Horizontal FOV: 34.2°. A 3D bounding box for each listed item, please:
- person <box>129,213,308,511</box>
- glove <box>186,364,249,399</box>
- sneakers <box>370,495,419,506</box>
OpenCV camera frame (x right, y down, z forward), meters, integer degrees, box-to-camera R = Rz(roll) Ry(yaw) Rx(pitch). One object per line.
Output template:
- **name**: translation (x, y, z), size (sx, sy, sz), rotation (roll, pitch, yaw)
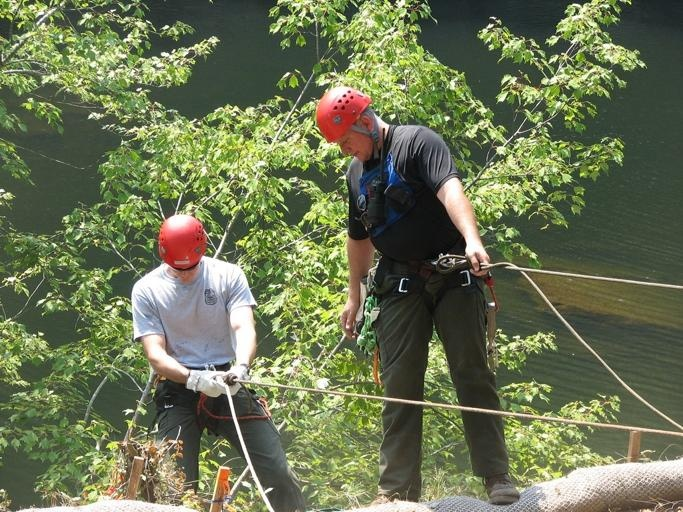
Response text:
- **person**: translation (-1.487, 1.214, 12.553), size (1.641, 3.380, 0.614), rotation (-4, -2, -2)
- **glove**: translation (-1.394, 1.413, 12.349), size (0.448, 0.181, 0.441), rotation (2, -17, 30)
- **sneakers**: translation (0.509, 2.653, 12.071), size (0.376, 0.069, 0.197), rotation (-3, -2, 6)
